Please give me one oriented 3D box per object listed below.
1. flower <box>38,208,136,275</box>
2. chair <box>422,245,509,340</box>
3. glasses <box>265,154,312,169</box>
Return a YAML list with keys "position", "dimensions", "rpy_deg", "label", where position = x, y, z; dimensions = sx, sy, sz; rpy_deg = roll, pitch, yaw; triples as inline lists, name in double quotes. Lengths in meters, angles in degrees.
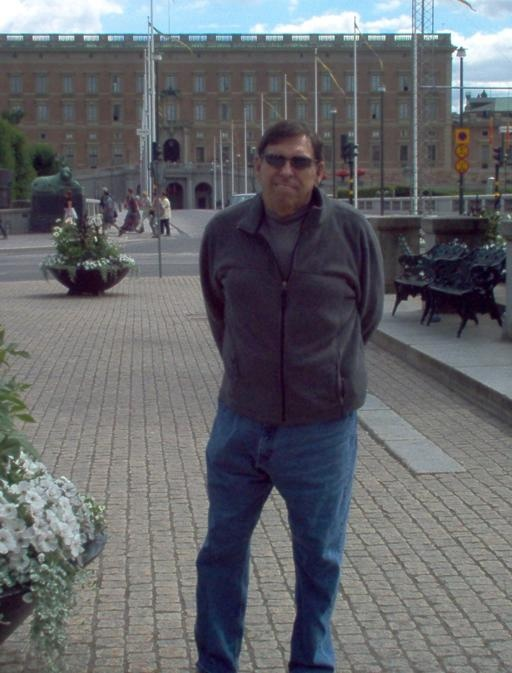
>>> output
- position: [-3.044, -1.698, 15.769]
  dimensions: [1.202, 1.038, 1.158]
  rpy_deg: [17, -3, 45]
  label: "flower"
- position: [2.379, -0.550, 10.313]
  dimensions: [0.642, 0.973, 1.398]
  rpy_deg: [-2, 10, -9]
  label: "chair"
- position: [0.091, -0.495, 2.500]
  dimensions: [0.126, 0.044, 0.038]
  rpy_deg: [-1, 10, 1]
  label: "glasses"
